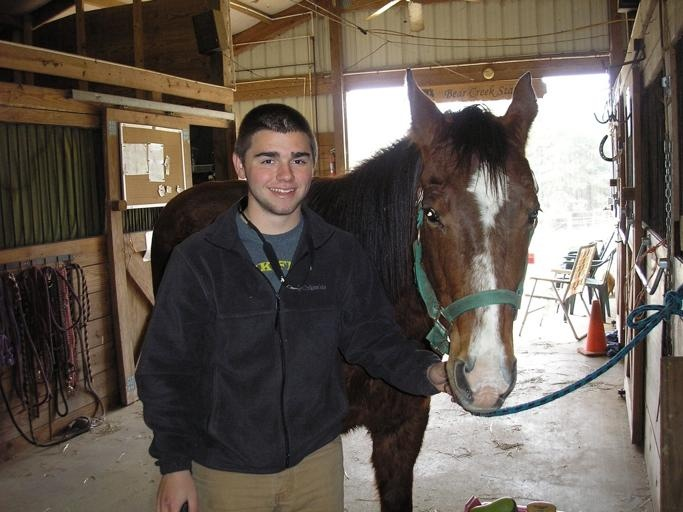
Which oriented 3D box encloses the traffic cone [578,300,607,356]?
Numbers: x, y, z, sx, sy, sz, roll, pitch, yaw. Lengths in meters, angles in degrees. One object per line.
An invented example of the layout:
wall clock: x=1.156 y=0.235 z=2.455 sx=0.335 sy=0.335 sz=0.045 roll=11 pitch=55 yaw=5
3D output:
traffic cone: x=2.895 y=0.807 z=6.356 sx=0.302 sy=0.667 sz=0.306 roll=3 pitch=9 yaw=25
